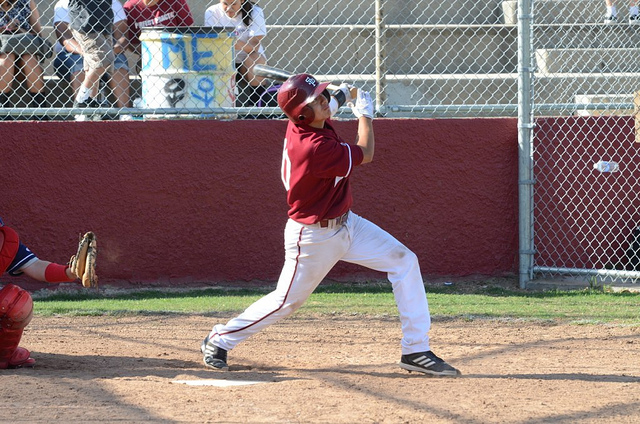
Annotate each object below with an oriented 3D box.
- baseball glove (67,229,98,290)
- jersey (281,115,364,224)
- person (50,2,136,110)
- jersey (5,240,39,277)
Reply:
[{"bbox_3d":[-2.029,0.406,8.969,0.233,0.487,0.267,2,4,-12],"label":"baseball glove"},{"bbox_3d":[-0.008,-0.365,9.199,0.680,0.710,0.965,-10,23,-12],"label":"jersey"},{"bbox_3d":[-2.478,-1.648,11.632,0.802,1.340,0.782,4,-2,-33],"label":"person"},{"bbox_3d":[-2.593,0.414,9.192,0.146,0.276,0.305,20,13,31],"label":"jersey"}]
